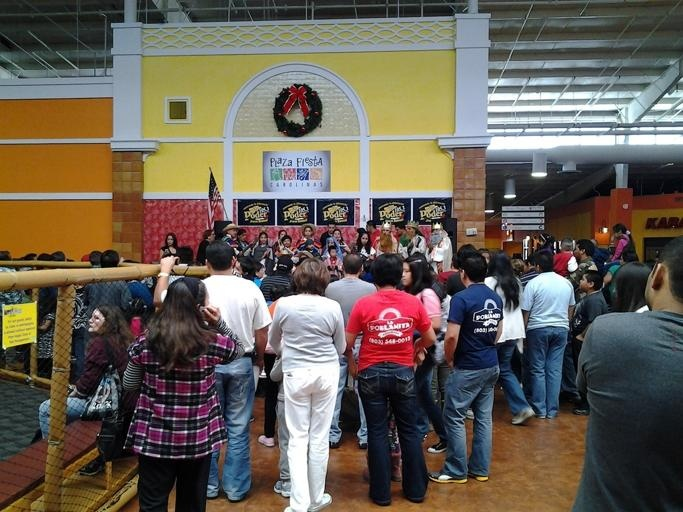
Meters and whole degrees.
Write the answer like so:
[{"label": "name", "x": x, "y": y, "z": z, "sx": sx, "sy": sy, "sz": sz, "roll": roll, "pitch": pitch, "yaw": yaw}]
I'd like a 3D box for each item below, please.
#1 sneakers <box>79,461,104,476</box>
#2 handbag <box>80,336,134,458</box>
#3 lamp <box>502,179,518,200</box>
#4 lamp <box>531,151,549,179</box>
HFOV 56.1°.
[{"label": "sneakers", "x": -2.476, "y": 2.099, "z": 6.358, "sx": 0.090, "sy": 0.109, "sz": 0.261, "roll": 10, "pitch": -8, "yaw": 31}, {"label": "handbag", "x": -2.171, "y": 1.311, "z": 6.037, "sx": 0.394, "sy": 1.151, "sz": 0.654, "roll": 5, "pitch": -6, "yaw": -8}, {"label": "lamp", "x": 6.748, "y": -2.792, "z": 25.701, "sx": 0.357, "sy": 0.758, "sz": 1.009, "roll": -1, "pitch": 0, "yaw": 11}, {"label": "lamp", "x": 6.071, "y": -2.878, "z": 19.686, "sx": 0.378, "sy": 0.715, "sz": 0.505, "roll": -1, "pitch": 0, "yaw": 9}]
